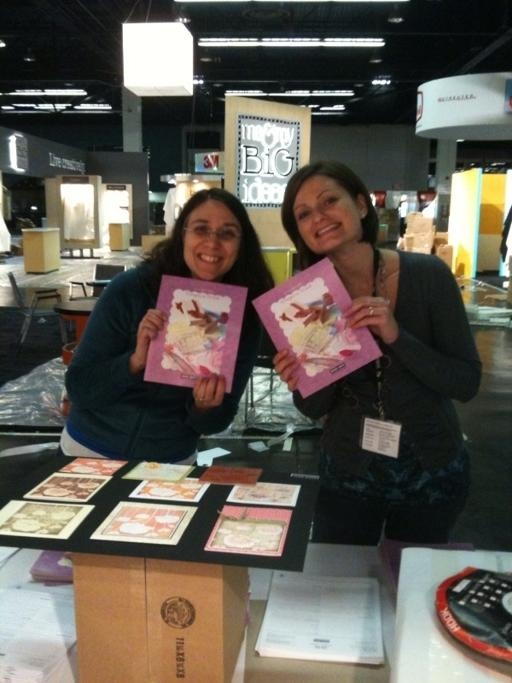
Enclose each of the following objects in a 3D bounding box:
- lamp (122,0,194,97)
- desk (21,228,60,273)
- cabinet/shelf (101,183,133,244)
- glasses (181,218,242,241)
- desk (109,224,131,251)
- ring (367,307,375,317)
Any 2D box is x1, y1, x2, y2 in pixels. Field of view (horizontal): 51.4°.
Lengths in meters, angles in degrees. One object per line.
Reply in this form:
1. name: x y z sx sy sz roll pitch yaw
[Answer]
1. lamp: -0.948 -2.556 4.846 0.753 0.647 0.700 0 6 -2
2. desk: -5.100 -2.140 12.649 0.614 0.955 1.082 -1 13 1
3. cabinet/shelf: -4.641 -4.474 19.133 1.749 2.116 1.684 -2 14 -16
4. glasses: -0.112 -0.293 1.437 0.136 0.047 0.045 5 6 -6
5. desk: -4.568 -3.468 17.750 0.567 0.919 1.011 2 5 6
6. ring: 0.259 -0.066 1.210 0.013 0.023 0.006 6 6 2
